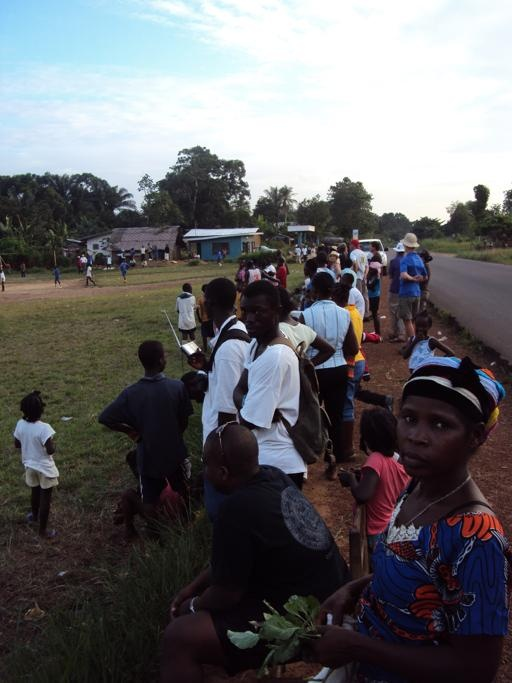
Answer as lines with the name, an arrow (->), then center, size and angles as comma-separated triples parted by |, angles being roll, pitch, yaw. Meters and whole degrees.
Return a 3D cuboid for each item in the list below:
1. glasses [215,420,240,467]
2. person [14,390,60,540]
glasses -> -0.123, 0.362, 2.062 | 0.034, 0.111, 0.114 | -4, -3, 17
person -> -1.930, 1.053, 4.769 | 0.306, 1.215, 0.542 | -9, 14, -27
